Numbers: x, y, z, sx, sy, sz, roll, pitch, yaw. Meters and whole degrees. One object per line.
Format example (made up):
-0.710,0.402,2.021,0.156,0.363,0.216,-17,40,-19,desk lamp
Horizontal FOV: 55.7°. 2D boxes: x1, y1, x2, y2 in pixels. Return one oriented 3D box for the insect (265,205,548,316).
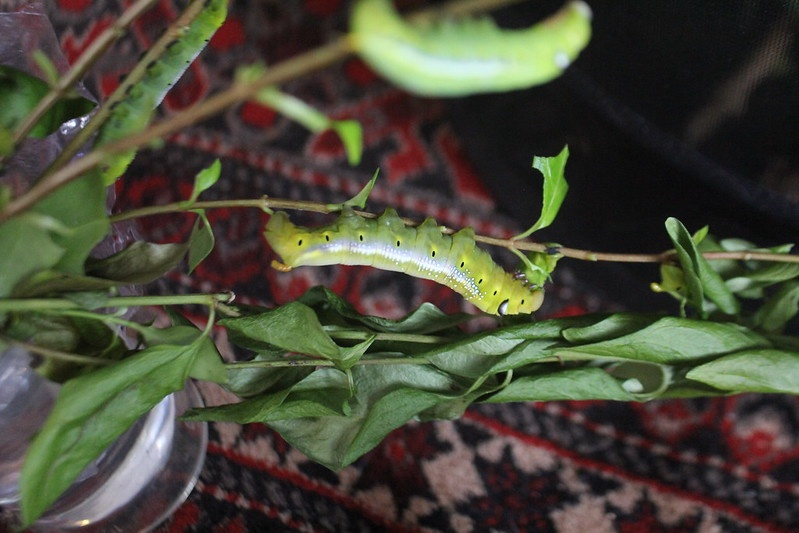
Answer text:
-0.013,-0.013,0.790,0.047,0.096,0.250,33,4,38,insect
